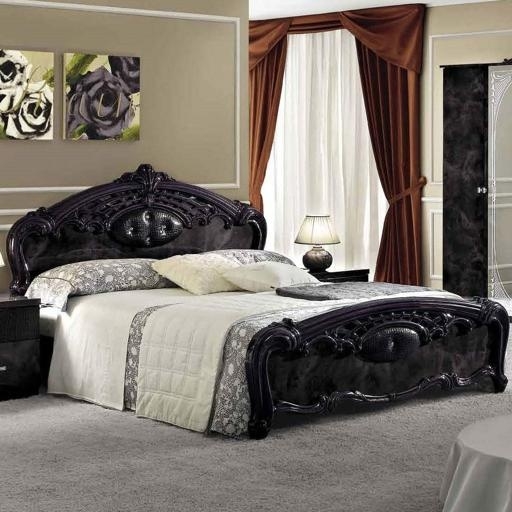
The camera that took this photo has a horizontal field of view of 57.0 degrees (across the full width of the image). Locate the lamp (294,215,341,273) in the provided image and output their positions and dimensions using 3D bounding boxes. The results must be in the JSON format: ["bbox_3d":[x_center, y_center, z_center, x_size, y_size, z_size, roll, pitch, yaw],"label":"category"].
[{"bbox_3d":[0.598,-0.121,4.822,0.447,0.512,0.471,2,5,23],"label":"lamp"}]
